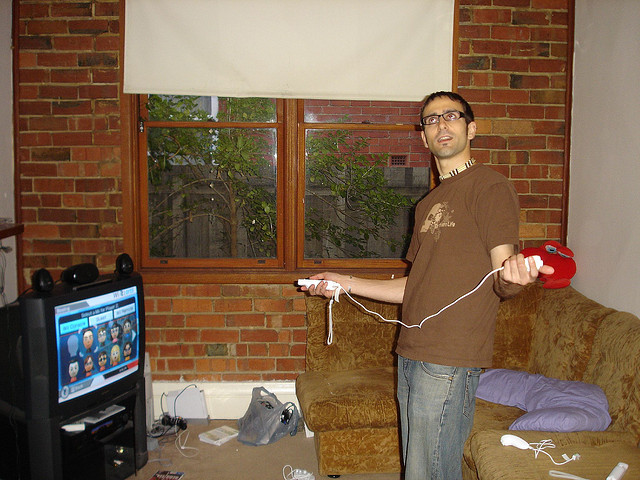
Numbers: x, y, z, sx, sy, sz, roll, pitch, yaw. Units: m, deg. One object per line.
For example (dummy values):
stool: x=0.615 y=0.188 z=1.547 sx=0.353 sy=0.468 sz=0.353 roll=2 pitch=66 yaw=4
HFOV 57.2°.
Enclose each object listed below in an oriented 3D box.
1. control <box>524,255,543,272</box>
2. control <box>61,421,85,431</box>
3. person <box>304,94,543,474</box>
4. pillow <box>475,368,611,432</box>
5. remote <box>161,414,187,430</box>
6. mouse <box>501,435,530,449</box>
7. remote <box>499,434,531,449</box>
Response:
control: x=0.939 y=0.110 z=2.602 sx=0.051 sy=0.079 sz=0.019 roll=1 pitch=-6 yaw=9
control: x=-1.501 y=1.130 z=3.562 sx=0.082 sy=0.022 sz=0.075 roll=3 pitch=0 yaw=-32
person: x=0.599 y=0.209 z=2.963 sx=0.966 sy=1.898 sz=0.481 roll=1 pitch=5 yaw=21
pillow: x=1.392 y=0.983 z=3.576 sx=0.519 sy=0.120 sz=0.544 roll=-7 pitch=3 yaw=4
remote: x=-1.084 y=1.350 z=4.366 sx=0.160 sy=0.075 sz=0.089 roll=6 pitch=-4 yaw=8
mouse: x=1.066 y=1.105 z=3.210 sx=0.111 sy=0.018 sz=0.066 roll=6 pitch=15 yaw=39
remote: x=1.063 y=1.096 z=3.216 sx=0.111 sy=0.017 sz=0.071 roll=3 pitch=17 yaw=33
